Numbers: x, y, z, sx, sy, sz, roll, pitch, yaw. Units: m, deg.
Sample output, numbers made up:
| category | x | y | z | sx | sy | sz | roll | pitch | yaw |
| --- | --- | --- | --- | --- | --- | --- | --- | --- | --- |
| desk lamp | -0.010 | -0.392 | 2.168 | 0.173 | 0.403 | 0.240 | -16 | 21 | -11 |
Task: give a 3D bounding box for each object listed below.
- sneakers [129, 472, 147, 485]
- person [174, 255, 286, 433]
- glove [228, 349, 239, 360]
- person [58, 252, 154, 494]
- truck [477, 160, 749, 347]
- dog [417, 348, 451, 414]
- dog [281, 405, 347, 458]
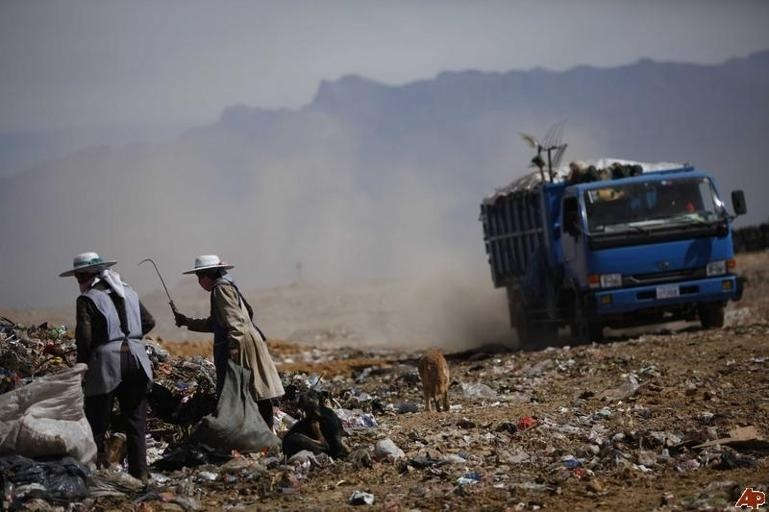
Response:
| category | x | y | z | sx | sy | sz | roll | pitch | yaw |
| --- | --- | --- | --- | --- | --- | --- | --- | --- | --- |
| sneakers | -2.559 | 2.336 | 8.922 | 0.173 | 0.084 | 0.192 | -5 | 4 | -17 |
| person | -1.761 | 1.010 | 9.828 | 1.111 | 2.090 | 0.932 | -4 | 4 | -9 |
| glove | -1.706 | 1.122 | 9.659 | 0.111 | 0.112 | 0.110 | 0 | -12 | -5 |
| person | -2.860 | 1.220 | 9.048 | 0.720 | 2.293 | 0.539 | -5 | 4 | -20 |
| truck | 3.862 | 0.114 | 16.149 | 3.149 | 2.993 | 6.289 | -5 | -7 | -18 |
| dog | 0.679 | 1.705 | 11.662 | 0.411 | 0.814 | 0.639 | -3 | 4 | 2 |
| dog | -0.802 | 1.949 | 9.505 | 0.490 | 0.431 | 0.843 | -5 | -30 | -40 |
